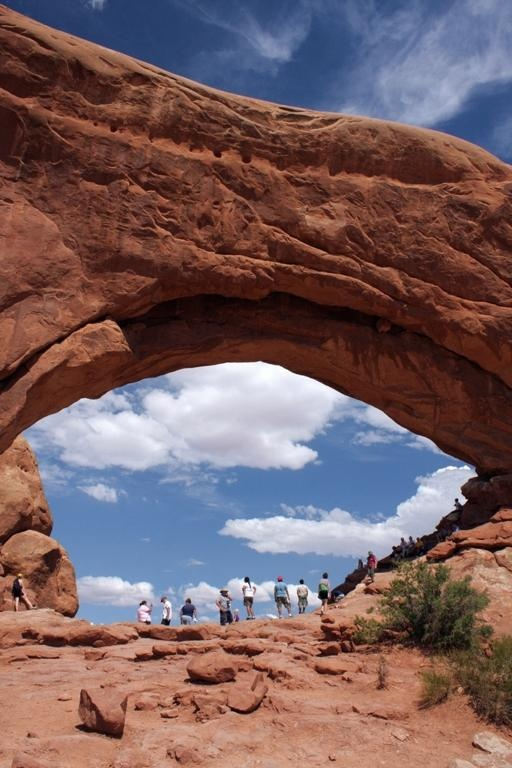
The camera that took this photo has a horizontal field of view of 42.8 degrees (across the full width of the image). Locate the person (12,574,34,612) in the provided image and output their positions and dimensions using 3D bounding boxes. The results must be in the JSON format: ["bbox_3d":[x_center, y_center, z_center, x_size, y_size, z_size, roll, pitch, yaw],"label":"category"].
[{"bbox_3d":[-5.071,4.539,14.130,0.407,0.833,1.726,5,-7,-20],"label":"person"}]
